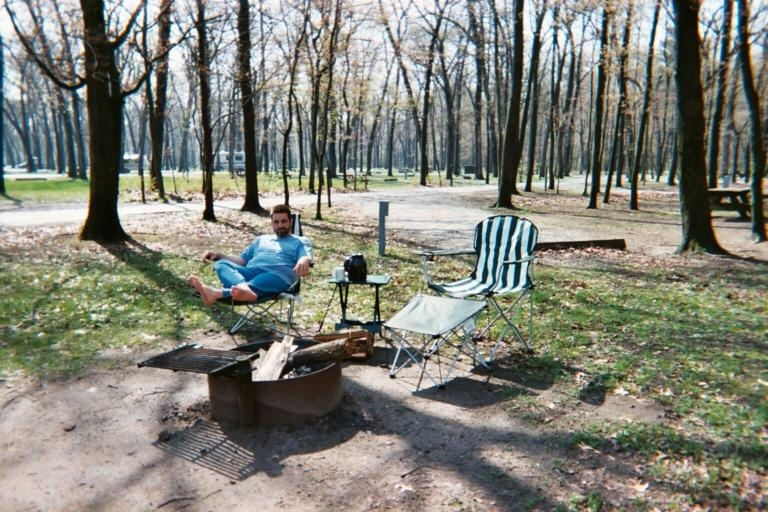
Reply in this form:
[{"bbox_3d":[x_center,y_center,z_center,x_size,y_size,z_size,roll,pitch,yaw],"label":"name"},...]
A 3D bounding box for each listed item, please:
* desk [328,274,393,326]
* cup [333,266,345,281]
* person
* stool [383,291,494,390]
[{"bbox_3d":[-0.363,0.735,9.610,0.996,0.676,0.845,1,2,18],"label":"desk"},{"bbox_3d":[-0.631,0.260,9.177,0.229,0.224,0.181,0,-5,-3],"label":"cup"},{"bbox_3d":[-1.791,-0.143,9.058,1.468,1.063,1.658,0,5,29],"label":"person"},{"bbox_3d":[0.773,0.969,8.769,1.220,0.969,1.347,6,17,33],"label":"stool"}]
